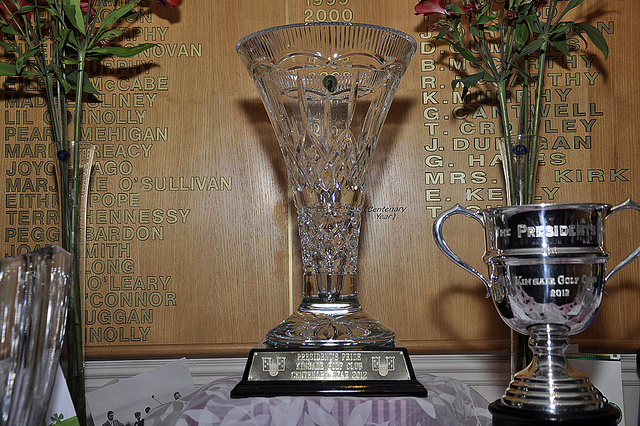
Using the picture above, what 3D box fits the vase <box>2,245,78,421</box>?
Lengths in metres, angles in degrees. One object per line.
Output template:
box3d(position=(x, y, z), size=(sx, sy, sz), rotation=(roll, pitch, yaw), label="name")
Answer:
box3d(position=(-0.372, 0.163, 0.887), size=(0.056, 0.237, 0.106), rotation=(-2, -1, 10), label="vase")

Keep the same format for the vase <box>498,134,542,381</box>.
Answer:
box3d(position=(0.413, 0.106, 1.376), size=(0.139, 0.478, 0.147), rotation=(-2, -5, 24), label="vase")

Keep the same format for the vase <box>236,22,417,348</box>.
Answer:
box3d(position=(0.007, -0.103, 1.257), size=(0.272, 0.653, 0.291), rotation=(1, -1, 0), label="vase")
